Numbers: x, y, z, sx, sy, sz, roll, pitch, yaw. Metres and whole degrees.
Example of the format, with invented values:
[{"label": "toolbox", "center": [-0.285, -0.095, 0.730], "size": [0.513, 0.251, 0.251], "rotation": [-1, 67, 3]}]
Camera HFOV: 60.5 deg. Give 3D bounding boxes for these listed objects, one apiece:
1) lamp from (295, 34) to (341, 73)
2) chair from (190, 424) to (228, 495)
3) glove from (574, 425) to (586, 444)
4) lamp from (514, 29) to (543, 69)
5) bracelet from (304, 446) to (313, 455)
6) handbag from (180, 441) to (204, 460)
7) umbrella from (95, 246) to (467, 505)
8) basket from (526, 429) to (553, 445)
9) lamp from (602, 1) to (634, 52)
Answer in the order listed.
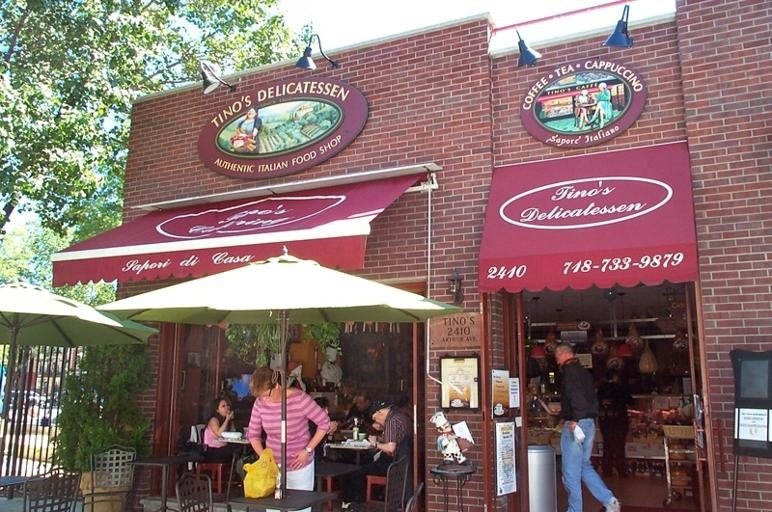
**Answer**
[{"label": "lamp", "center": [-1.396, -4.191, 13.672], "size": [0.972, 0.682, 0.418], "rotation": [-4, 25, -33]}, {"label": "chair", "center": [-3.572, 4.249, 13.525], "size": [0.887, 1.369, 0.836], "rotation": [5, -10, -3]}, {"label": "glove", "center": [3.459, 3.188, 11.795], "size": [0.213, 0.332, 0.178], "rotation": [1, -13, -11]}, {"label": "lamp", "center": [2.676, -3.955, 12.486], "size": [0.451, 0.837, 0.660], "rotation": [-5, -14, 13]}, {"label": "bracelet", "center": [-1.233, 3.121, 10.531], "size": [0.131, 0.126, 0.085], "rotation": [5, 9, -23]}, {"label": "handbag", "center": [-3.936, 3.908, 13.302], "size": [0.318, 0.306, 0.121], "rotation": [-13, -45, 0]}, {"label": "umbrella", "center": [-1.336, 1.842, 11.357], "size": [5.192, 3.965, 5.683], "rotation": [-3, -13, 4]}, {"label": "basket", "center": [3.205, 3.797, 13.870], "size": [0.574, 0.481, 0.807], "rotation": [-2, -11, 14]}, {"label": "lamp", "center": [4.230, -4.100, 12.014], "size": [0.428, 0.915, 0.686], "rotation": [-10, -15, 31]}]
